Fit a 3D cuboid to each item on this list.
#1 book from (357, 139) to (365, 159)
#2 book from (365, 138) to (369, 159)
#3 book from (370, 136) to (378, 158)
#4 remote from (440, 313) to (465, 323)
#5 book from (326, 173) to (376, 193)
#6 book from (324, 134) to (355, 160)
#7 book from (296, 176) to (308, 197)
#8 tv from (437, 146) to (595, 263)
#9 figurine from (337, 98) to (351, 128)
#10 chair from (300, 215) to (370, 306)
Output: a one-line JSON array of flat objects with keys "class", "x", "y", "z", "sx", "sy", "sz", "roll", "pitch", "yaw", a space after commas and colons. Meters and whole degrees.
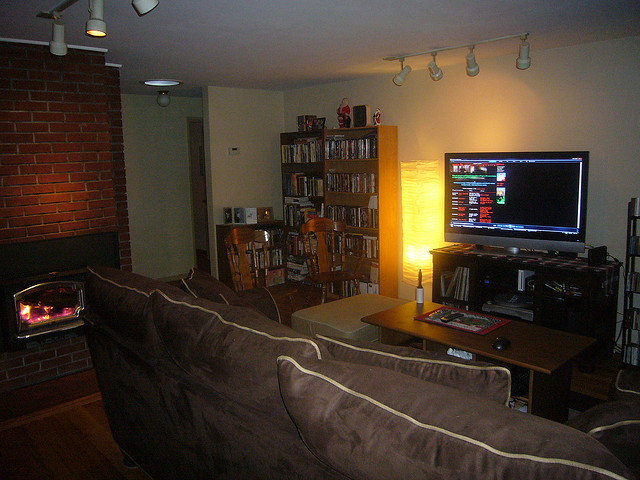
[{"class": "book", "x": 0.477, "y": -1.048, "z": 5.680, "sx": 0.127, "sy": 0.218, "sz": 0.229, "roll": 1, "pitch": 3, "yaw": 3}, {"class": "book", "x": 0.533, "y": -1.032, "z": 5.622, "sx": 0.059, "sy": 0.219, "sz": 0.028, "roll": 4, "pitch": 10, "yaw": 36}, {"class": "book", "x": 0.604, "y": -1.045, "z": 5.559, "sx": 0.022, "sy": 0.238, "sz": 0.121, "roll": -7, "pitch": 10, "yaw": -35}, {"class": "remote", "x": 0.948, "y": 0.555, "z": 3.565, "sx": 0.211, "sy": 0.049, "sz": 0.061, "roll": -13, "pitch": 27, "yaw": -44}, {"class": "book", "x": 0.360, "y": -0.683, "z": 5.900, "sx": 0.170, "sy": 0.233, "sz": 0.739, "roll": -7, "pitch": 10, "yaw": -35}, {"class": "book", "x": 0.258, "y": -1.114, "z": 5.928, "sx": 0.181, "sy": 0.312, "sz": 0.500, "roll": -7, "pitch": 9, "yaw": -32}, {"class": "book", "x": -0.230, "y": -0.720, "z": 6.528, "sx": 0.134, "sy": 0.233, "sz": 0.240, "roll": -3, "pitch": 8, "yaw": -20}, {"class": "tv", "x": 1.858, "y": -0.325, "z": 4.564, "sx": 1.095, "sy": 0.783, "sz": 0.295, "roll": 8, "pitch": 12, "yaw": 39}, {"class": "figurine", "x": 0.292, "y": -1.488, "z": 5.847, "sx": 0.146, "sy": 0.336, "sz": 0.209, "roll": -1, "pitch": 8, "yaw": 3}, {"class": "chair", "x": 0.104, "y": 0.285, "z": 5.439, "sx": 0.680, "sy": 0.942, "sz": 0.567, "roll": -6, "pitch": 10, "yaw": -37}]
